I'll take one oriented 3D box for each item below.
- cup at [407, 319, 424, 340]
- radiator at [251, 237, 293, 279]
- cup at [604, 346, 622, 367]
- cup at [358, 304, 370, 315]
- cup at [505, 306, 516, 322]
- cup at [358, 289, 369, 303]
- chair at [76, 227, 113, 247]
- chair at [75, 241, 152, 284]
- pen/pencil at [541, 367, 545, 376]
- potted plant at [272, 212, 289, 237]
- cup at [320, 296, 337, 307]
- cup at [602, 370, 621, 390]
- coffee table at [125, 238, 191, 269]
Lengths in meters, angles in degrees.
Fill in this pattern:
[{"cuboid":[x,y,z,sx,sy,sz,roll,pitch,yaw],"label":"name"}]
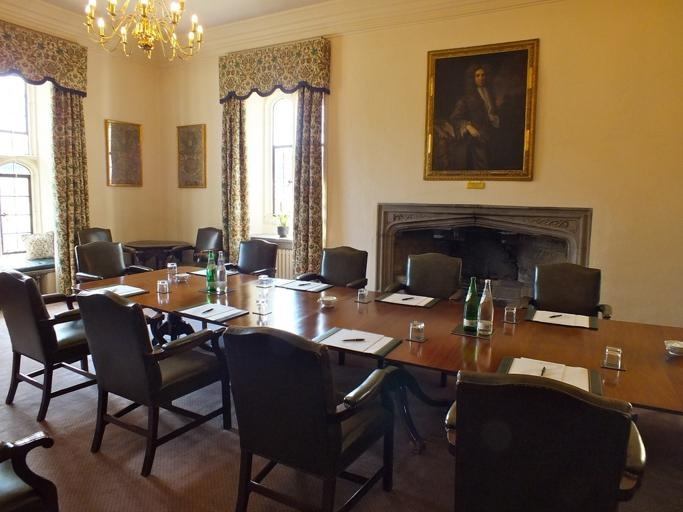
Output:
[{"cuboid":[0.507,0.504,3.526,0.100,0.117,0.118,5,12,20],"label":"cup"},{"cuboid":[-0.872,0.023,6.458,0.558,0.593,0.049,2,3,31],"label":"radiator"},{"cuboid":[1.662,0.609,3.129,0.111,0.090,0.122,-3,6,0],"label":"cup"},{"cuboid":[0.171,0.427,4.106,0.073,0.074,0.054,10,17,36],"label":"cup"},{"cuboid":[1.250,0.427,3.849,0.101,0.124,0.104,0,8,0],"label":"cup"},{"cuboid":[0.197,0.337,4.310,0.099,0.102,0.096,0,0,0],"label":"cup"},{"cuboid":[-3.297,-0.257,6.758,0.333,0.423,0.295,6,8,43],"label":"chair"},{"cuboid":[-2.571,0.044,5.692,0.601,0.795,0.565,3,5,36],"label":"chair"},{"cuboid":[1.186,0.680,3.021,0.016,0.005,0.103,4,14,25],"label":"pen/pencil"},{"cuboid":[-0.917,-0.492,7.849,0.208,0.374,0.504,0,6,-7],"label":"potted plant"},{"cuboid":[-0.102,0.369,4.146,0.095,0.045,0.082,-1,1,-31],"label":"cup"},{"cuboid":[1.568,0.716,2.965,0.085,0.091,0.131,-1,4,22],"label":"cup"},{"cuboid":[-2.779,-0.073,7.625,0.583,0.468,0.616,0,7,-5],"label":"coffee table"}]
